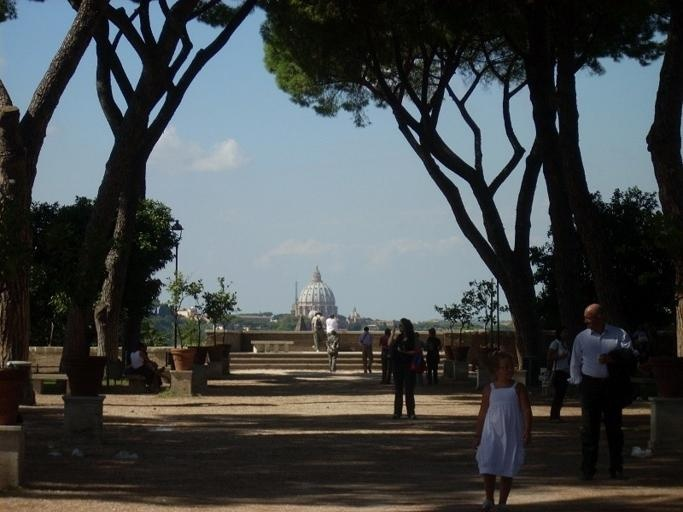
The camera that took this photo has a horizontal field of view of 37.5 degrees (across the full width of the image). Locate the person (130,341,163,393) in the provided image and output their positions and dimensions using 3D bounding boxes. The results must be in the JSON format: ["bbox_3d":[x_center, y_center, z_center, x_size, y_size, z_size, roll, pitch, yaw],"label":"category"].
[{"bbox_3d":[-4.904,2.790,25.213,0.749,1.200,0.938,0,-8,-15],"label":"person"}]

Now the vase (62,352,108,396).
[{"bbox_3d":[-4.466,2.065,17.512,0.575,0.554,0.659,2,-6,3],"label":"vase"}]

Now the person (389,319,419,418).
[{"bbox_3d":[1.199,2.164,19.336,0.488,1.983,0.533,-4,-8,36],"label":"person"}]

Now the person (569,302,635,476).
[{"bbox_3d":[3.710,1.924,14.403,0.722,2.505,0.741,1,-7,-22],"label":"person"}]

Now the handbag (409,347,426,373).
[{"bbox_3d":[1.471,2.028,19.520,0.189,0.471,0.783,-3,-8,10],"label":"handbag"}]

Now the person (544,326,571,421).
[{"bbox_3d":[4.119,2.253,19.079,0.424,1.743,1.044,-3,-7,12],"label":"person"}]
